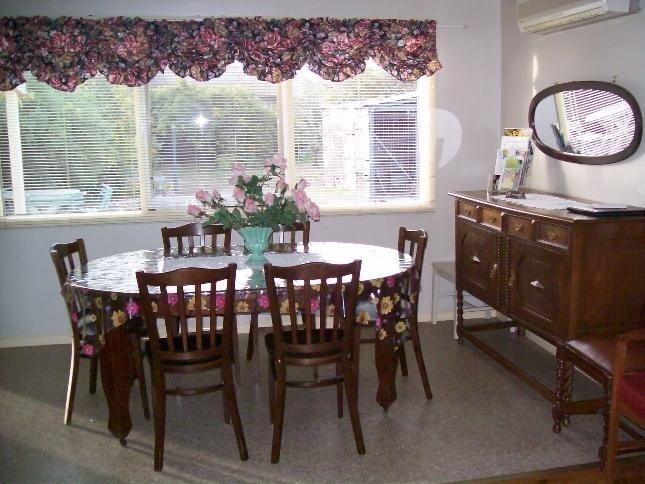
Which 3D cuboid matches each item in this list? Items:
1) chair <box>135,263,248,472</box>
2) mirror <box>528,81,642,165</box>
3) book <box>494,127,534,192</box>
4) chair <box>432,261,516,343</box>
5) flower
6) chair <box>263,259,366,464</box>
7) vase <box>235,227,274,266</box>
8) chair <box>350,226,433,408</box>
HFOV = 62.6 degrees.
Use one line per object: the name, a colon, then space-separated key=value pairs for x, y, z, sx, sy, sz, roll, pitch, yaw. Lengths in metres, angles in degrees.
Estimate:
chair: x=-0.764 y=0.696 z=3.180 sx=0.695 sy=1.166 sz=0.722 roll=-8 pitch=9 yaw=-43
mirror: x=1.870 y=-0.875 z=3.848 sx=0.070 sy=0.569 sz=0.985 roll=-6 pitch=15 yaw=-18
book: x=1.466 y=-0.643 z=4.139 sx=0.275 sy=0.460 sz=0.231 roll=11 pitch=19 yaw=41
chair: x=1.334 y=0.409 z=4.951 sx=0.617 sy=0.772 sz=0.808 roll=-2 pitch=10 yaw=-10
flower: x=-0.493 y=-0.352 z=3.871 sx=0.844 sy=0.601 sz=0.911 roll=-2 pitch=14 yaw=-6
chair: x=-0.056 y=0.597 z=3.331 sx=0.604 sy=1.171 sz=0.904 roll=-3 pitch=14 yaw=-7
vase: x=-0.448 y=0.027 z=3.647 sx=0.269 sy=0.232 sz=0.258 roll=-2 pitch=-4 yaw=-23
chair: x=0.451 y=0.475 z=3.866 sx=0.749 sy=1.131 sz=0.755 roll=0 pitch=3 yaw=-14
